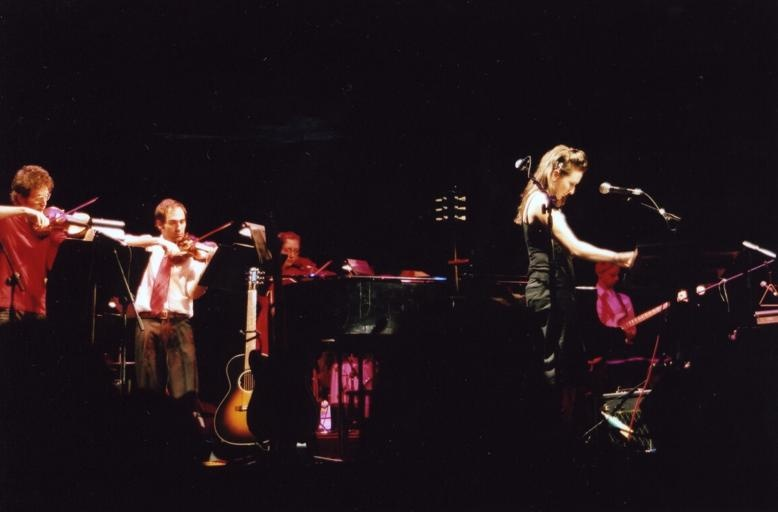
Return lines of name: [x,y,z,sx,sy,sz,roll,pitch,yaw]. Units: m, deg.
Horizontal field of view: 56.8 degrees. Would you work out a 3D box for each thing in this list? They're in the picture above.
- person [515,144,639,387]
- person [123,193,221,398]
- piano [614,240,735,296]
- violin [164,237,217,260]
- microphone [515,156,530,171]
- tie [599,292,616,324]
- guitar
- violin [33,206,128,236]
person: [1.743,0.024,7.198,0.890,2.508,0.768,2,-7,8]
person: [-2.223,0.408,7.358,0.698,2.038,0.270,4,-7,-4]
piano: [2.603,0.175,7.044,0.804,0.202,0.720,0,-17,-23]
violin: [-2.073,-0.069,7.504,0.469,0.154,0.261,8,18,-23]
microphone: [1.332,-0.927,7.184,0.057,0.226,0.221,17,14,33]
tie: [2.223,0.542,7.298,0.196,0.290,0.082,1,-5,-2]
guitar: [-1.402,0.999,7.214,0.570,1.792,0.224,1,-8,19]
violin: [-3.098,-0.357,7.419,0.988,0.395,0.259,4,-6,-16]
